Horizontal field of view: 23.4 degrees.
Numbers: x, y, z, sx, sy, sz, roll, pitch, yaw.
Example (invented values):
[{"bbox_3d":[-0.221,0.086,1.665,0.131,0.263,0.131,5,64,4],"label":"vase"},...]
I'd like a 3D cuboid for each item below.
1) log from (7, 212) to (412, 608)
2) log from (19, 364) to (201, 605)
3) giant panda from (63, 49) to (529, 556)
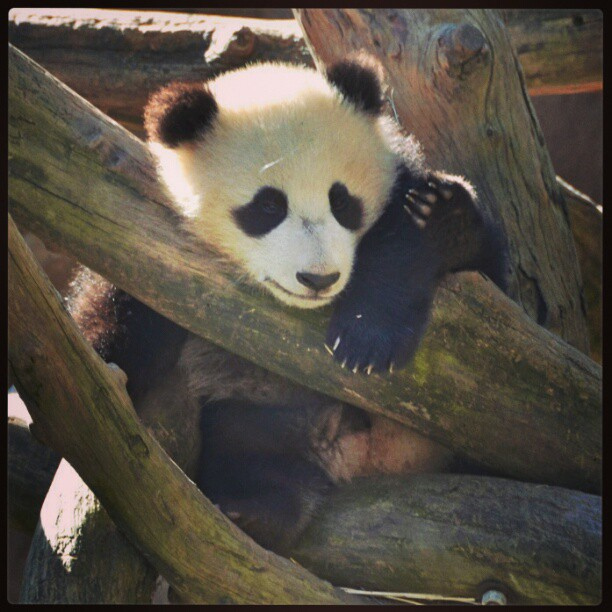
[{"bbox_3d":[-0.526,0.508,4.869,1.407,0.890,0.423,36,70,28],"label":"log"},{"bbox_3d":[-0.679,0.621,4.911,0.446,0.421,0.653,-19,39,-33],"label":"log"},{"bbox_3d":[-0.211,-0.563,5.361,1.658,2.042,1.223,-9,19,-33],"label":"giant panda"}]
